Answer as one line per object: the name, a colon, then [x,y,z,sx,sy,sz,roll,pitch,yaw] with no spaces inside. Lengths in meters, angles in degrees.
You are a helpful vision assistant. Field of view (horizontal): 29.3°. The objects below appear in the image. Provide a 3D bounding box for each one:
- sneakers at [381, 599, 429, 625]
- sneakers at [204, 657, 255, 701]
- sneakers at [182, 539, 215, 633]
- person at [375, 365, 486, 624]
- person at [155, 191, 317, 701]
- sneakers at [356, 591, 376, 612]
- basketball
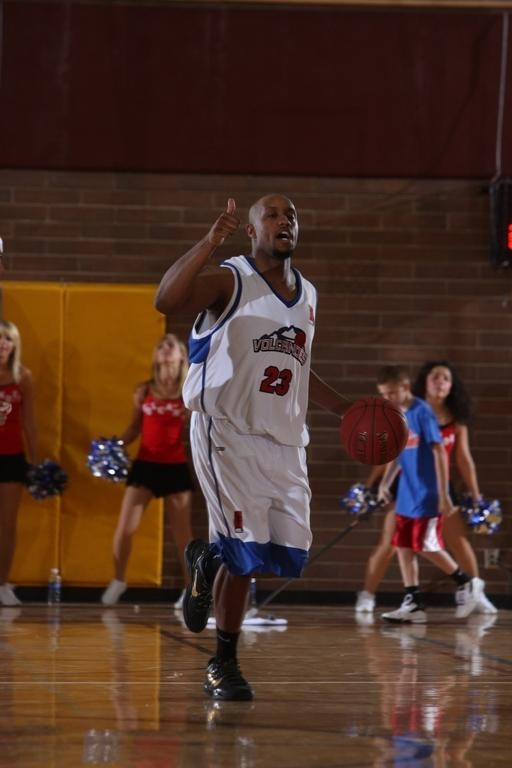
sneakers: [0.764,1.150,4.998,0.284,0.160,0.091,1,-8,-1]
sneakers: [-0.083,0.879,2.901,0.081,0.067,0.164,5,-7,-25]
sneakers: [-0.186,0.627,3.119,0.107,0.294,0.143,0,-2,-36]
person: [0.898,0.566,5.104,0.565,1.294,0.320,2,-5,1]
person: [-0.032,0.164,2.930,0.401,1.535,0.370,2,-5,2]
sneakers: [0.583,1.171,5.282,0.090,0.119,0.131,3,-2,13]
basketball: [0.374,0.148,3.165,0.236,0.208,0.224,0,1,-35]
